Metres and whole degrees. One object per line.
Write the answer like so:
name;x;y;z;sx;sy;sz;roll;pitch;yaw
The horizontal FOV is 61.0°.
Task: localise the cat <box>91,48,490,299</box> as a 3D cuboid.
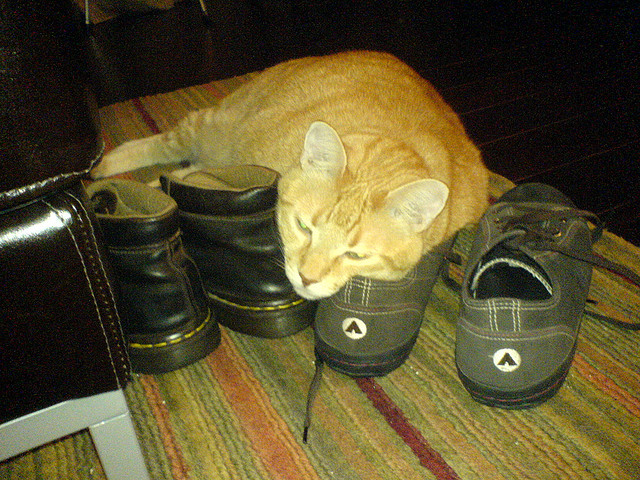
cat;-0.057;-0.384;1.883;1.156;0.368;1.286;-3;42;-9
